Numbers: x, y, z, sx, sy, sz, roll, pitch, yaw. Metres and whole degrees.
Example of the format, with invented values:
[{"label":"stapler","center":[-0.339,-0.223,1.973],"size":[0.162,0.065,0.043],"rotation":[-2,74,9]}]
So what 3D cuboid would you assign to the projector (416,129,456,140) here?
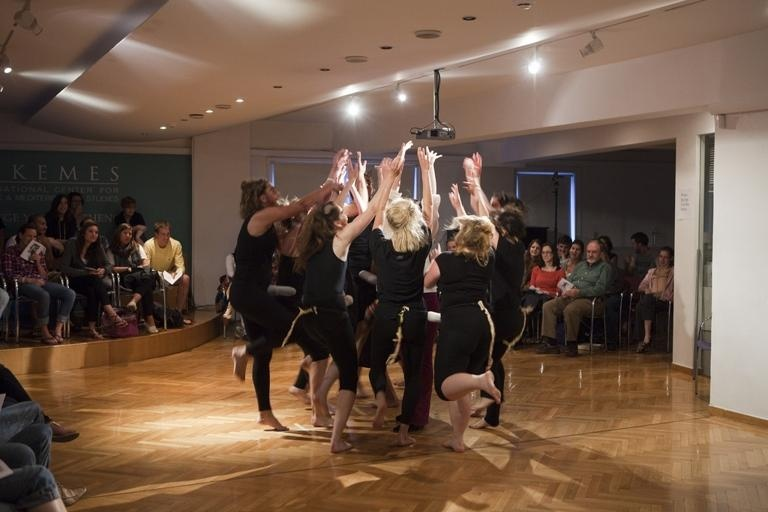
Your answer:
[{"label":"projector","center":[0.645,-1.568,7.198],"size":[0.435,0.139,0.248],"rotation":[0,4,-2]}]

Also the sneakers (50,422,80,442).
[{"label":"sneakers","center":[-2.977,1.614,5.267],"size":[0.233,0.197,0.155],"rotation":[-3,5,-32]}]

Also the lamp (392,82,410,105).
[{"label":"lamp","center":[0.267,-2.563,8.922],"size":[0.266,0.256,0.264],"rotation":[-1,0,-2]}]
